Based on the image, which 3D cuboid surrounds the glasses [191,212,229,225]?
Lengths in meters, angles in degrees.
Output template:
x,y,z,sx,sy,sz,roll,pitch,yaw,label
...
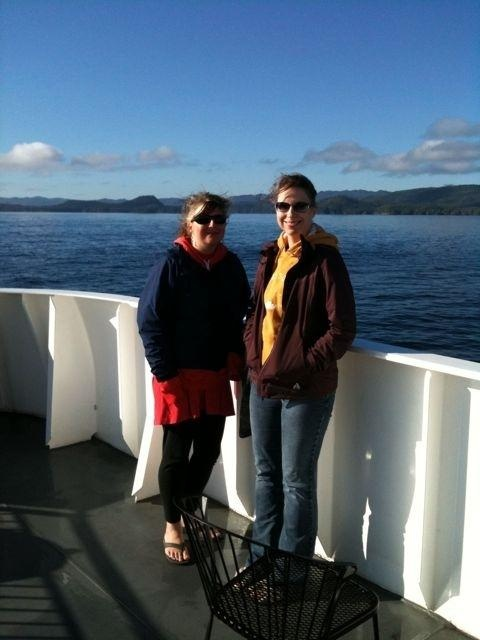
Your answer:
x,y,z,sx,sy,sz,roll,pitch,yaw,label
-0.127,-0.422,2.169,0.147,0.051,0.058,-2,8,-6,glasses
